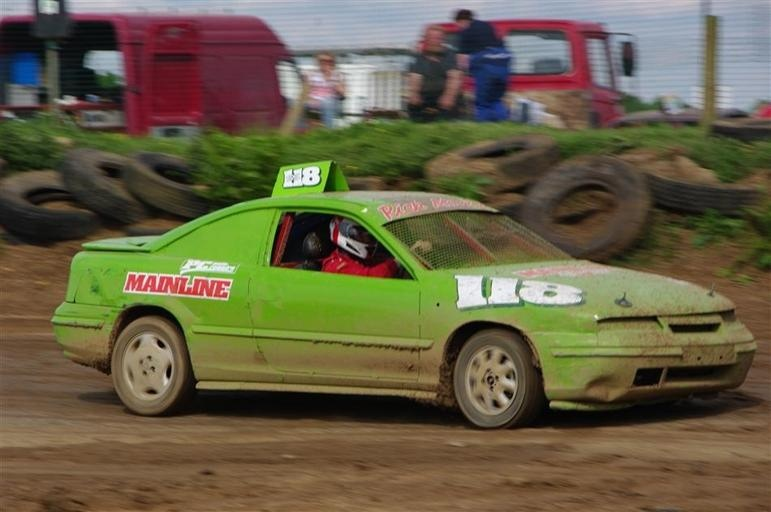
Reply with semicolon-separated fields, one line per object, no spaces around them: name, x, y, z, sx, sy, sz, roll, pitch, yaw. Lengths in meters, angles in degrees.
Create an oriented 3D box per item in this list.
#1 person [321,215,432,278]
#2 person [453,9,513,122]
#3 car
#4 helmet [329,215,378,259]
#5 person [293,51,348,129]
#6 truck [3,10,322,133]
person;-0.179;-0.041;7.283;0.886;0.241;0.549;21;38;18
person;1.495;-2.841;12.725;0.803;1.698;0.499;-5;16;3
car;0.023;0.439;7.174;5.545;1.875;1.251;1;15;17
helmet;-0.183;-0.167;7.514;0.370;0.275;0.440;4;12;-37
person;-0.954;-2.531;12.984;0.613;1.105;0.600;-8;15;-10
truck;-3.273;-2.910;13.477;3.687;2.010;1.021;1;16;19
